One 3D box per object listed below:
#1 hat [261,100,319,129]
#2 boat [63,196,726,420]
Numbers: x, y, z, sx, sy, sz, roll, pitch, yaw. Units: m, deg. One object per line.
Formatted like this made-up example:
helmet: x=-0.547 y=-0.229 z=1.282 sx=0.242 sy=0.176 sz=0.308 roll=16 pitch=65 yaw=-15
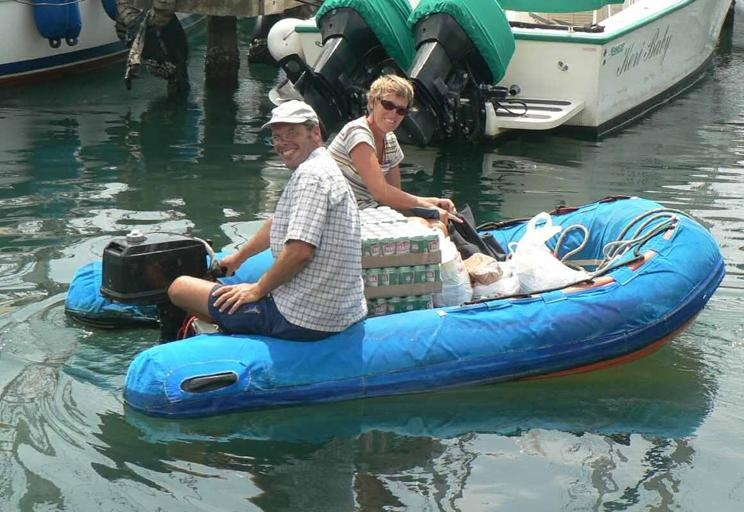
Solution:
hat: x=-0.513 y=-0.901 z=5.378 sx=0.378 sy=0.099 sz=0.218 roll=2 pitch=9 yaw=-3
boat: x=0.402 y=0.324 z=6.028 sx=4.463 sy=0.595 sz=1.916 roll=-2 pitch=5 yaw=-7
